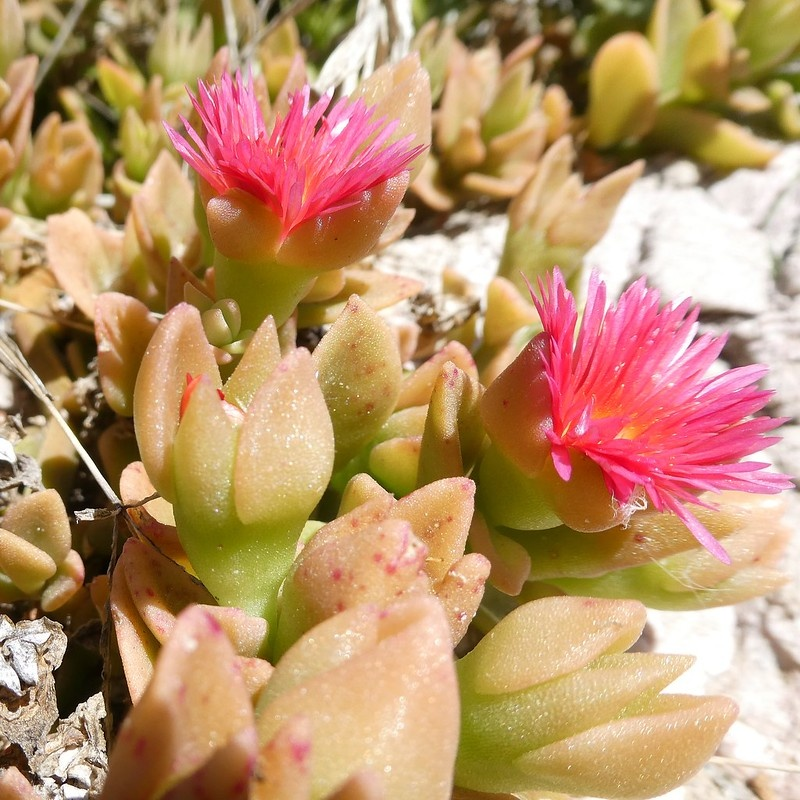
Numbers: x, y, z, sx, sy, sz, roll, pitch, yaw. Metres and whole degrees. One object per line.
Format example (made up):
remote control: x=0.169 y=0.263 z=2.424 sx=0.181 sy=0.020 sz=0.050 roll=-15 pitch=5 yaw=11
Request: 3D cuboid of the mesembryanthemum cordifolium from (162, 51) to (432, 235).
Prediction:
mesembryanthemum cordifolium: x=-0.073 y=-0.176 z=0.710 sx=0.177 sy=0.158 sz=0.101 roll=-1 pitch=99 yaw=11

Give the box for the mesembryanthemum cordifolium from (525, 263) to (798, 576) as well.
mesembryanthemum cordifolium: x=0.169 y=0.041 z=0.705 sx=0.109 sy=0.229 sz=0.190 roll=-34 pitch=28 yaw=40
